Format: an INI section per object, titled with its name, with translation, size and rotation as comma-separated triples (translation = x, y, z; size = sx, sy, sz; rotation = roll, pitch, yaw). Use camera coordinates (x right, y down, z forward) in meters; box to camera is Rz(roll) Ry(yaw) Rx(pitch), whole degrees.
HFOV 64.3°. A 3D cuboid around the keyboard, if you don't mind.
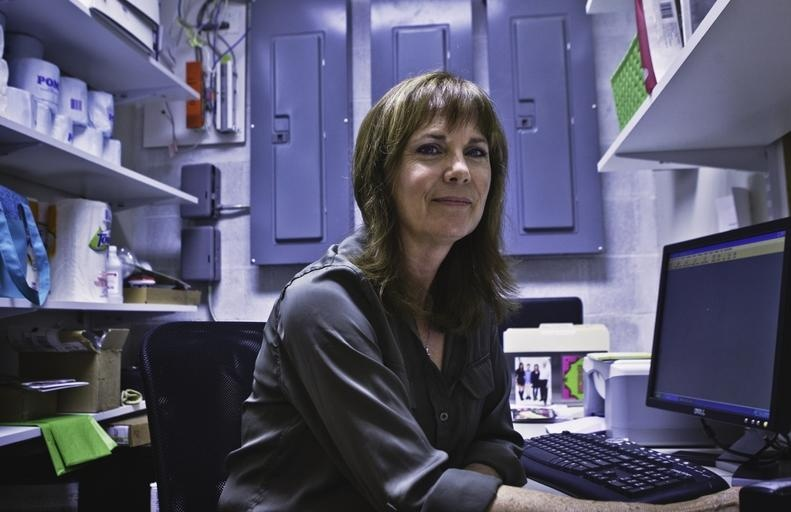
[keyboard]
translation = 0.597, 0.581, 1.712
size = 0.525, 0.119, 0.261
rotation = -5, -8, 36
